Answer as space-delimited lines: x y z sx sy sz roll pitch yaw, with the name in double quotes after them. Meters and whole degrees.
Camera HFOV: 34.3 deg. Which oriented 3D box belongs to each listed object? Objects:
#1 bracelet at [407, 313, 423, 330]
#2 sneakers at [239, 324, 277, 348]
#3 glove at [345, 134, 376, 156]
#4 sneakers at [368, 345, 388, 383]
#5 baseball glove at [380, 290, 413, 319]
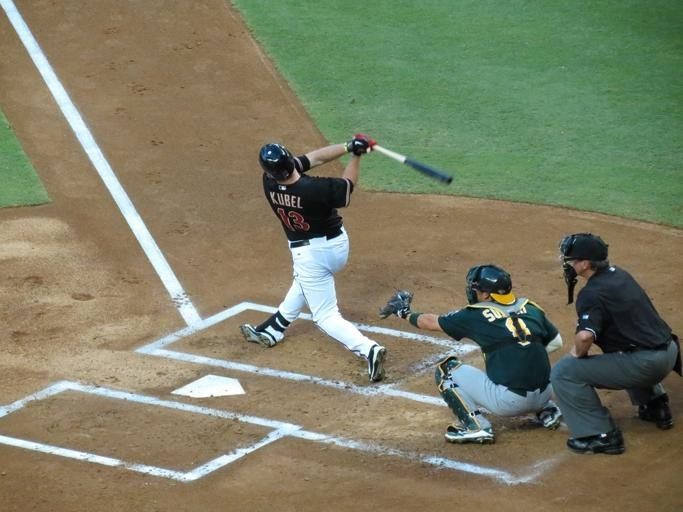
0.745 0.673 11.439 0.175 0.129 0.173 -16 -19 38 "bracelet"
-0.978 0.902 12.683 0.542 0.155 0.223 20 36 20 "sneakers"
0.161 -1.221 12.141 0.373 0.116 0.212 13 15 31 "glove"
0.334 1.181 11.997 0.222 0.394 0.248 -13 17 -35 "sneakers"
0.608 0.496 11.709 0.304 0.136 0.356 21 34 10 "baseball glove"
